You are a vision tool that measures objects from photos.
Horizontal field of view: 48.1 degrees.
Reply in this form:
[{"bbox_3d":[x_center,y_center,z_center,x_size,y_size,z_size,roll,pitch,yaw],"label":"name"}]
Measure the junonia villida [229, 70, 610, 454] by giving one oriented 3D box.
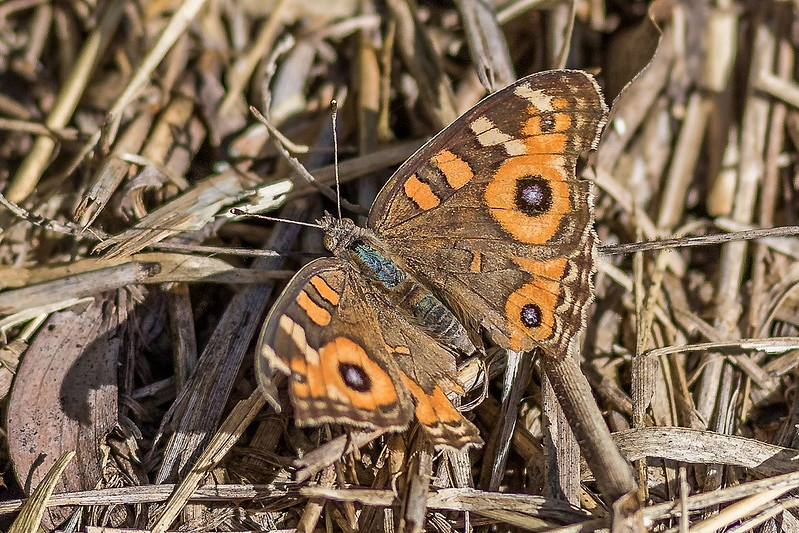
[{"bbox_3d":[0.111,-0.159,3.479,1.148,1.208,1.338,-1,21,3],"label":"junonia villida"}]
